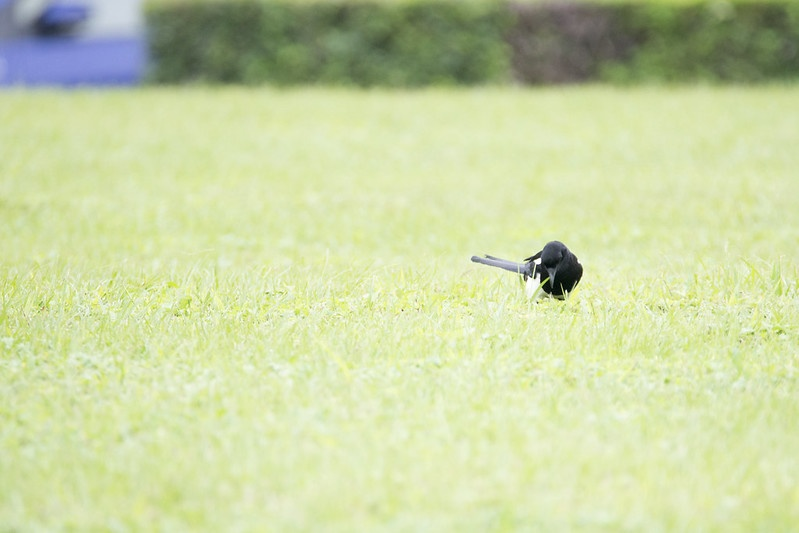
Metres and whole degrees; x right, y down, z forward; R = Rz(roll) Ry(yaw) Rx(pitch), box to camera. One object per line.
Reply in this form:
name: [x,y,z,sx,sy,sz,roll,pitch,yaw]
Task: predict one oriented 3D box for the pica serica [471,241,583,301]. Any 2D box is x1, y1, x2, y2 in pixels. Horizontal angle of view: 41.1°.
pica serica: [0.928,-0.061,8.724,0.364,0.489,1.192,-16,22,-27]
